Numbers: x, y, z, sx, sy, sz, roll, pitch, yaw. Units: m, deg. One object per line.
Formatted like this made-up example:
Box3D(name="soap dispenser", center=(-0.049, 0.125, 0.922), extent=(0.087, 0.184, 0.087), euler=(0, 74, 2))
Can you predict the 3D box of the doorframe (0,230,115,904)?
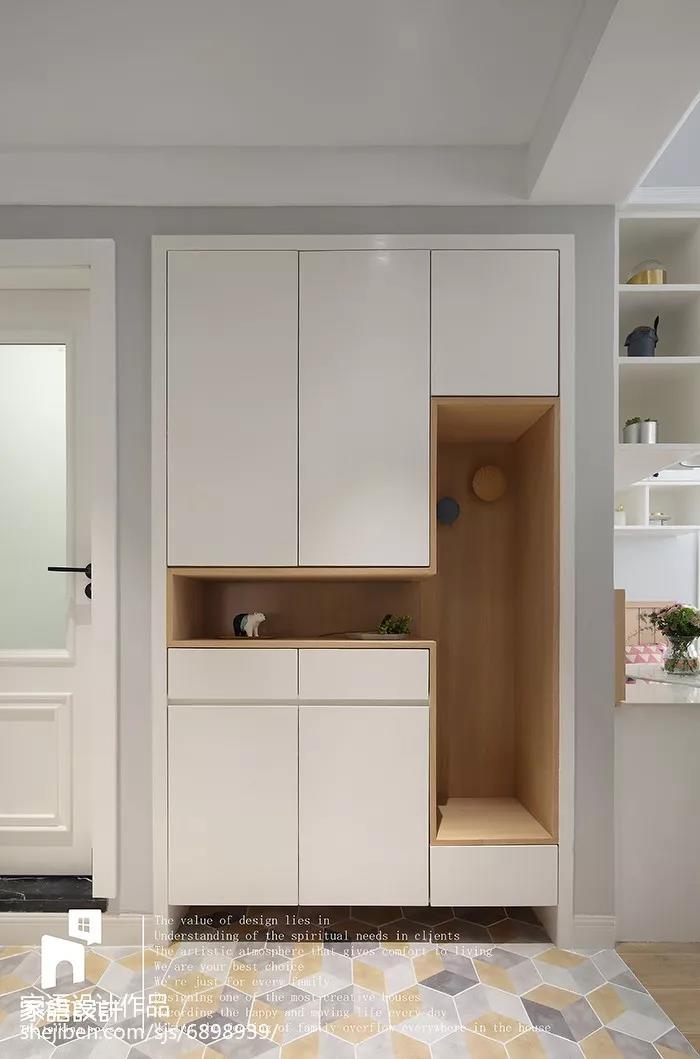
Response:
Box3D(name="doorframe", center=(-0.822, 0.102, 2.851), extent=(0.277, 1.933, 0.496), euler=(-5, 8, -36))
